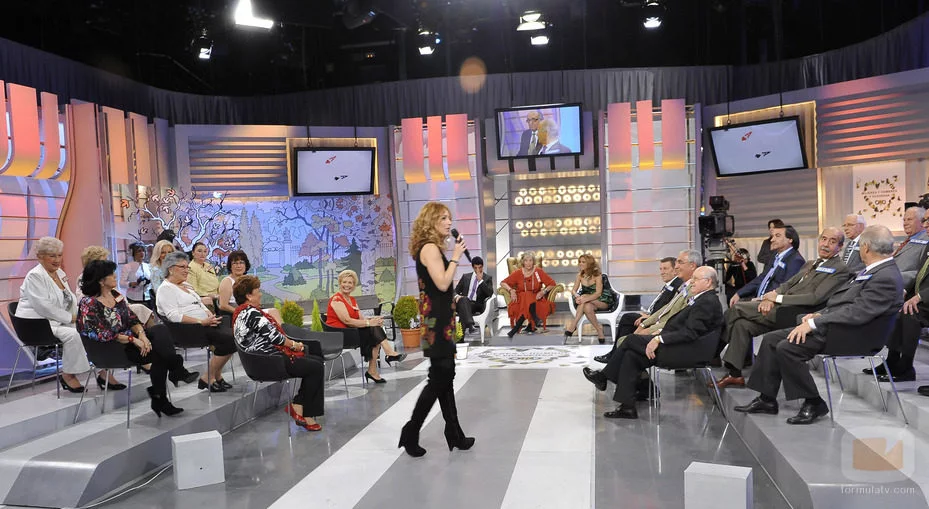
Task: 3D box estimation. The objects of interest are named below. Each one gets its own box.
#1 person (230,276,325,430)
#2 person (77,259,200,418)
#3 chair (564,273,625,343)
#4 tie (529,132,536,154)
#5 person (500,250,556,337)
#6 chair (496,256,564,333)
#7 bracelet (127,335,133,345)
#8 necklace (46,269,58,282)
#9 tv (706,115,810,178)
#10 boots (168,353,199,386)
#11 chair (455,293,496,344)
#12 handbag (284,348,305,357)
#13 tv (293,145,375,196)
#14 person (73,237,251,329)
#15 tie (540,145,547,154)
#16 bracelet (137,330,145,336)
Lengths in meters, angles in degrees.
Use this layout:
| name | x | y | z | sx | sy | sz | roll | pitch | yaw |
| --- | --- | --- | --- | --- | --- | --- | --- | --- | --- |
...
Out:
| name | x | y | z | sx | sy | sz | roll | pitch | yaw |
| --- | --- | --- | --- | --- | --- | --- | --- | --- | --- |
| person | -2.378 | 1.266 | 7.899 | 1.073 | 2.011 | 0.428 | -5 | 5 | -10 |
| person | -4.104 | 1.046 | 7.582 | 1.079 | 1.968 | 0.332 | -3 | 5 | 8 |
| chair | 2.518 | 1.106 | 11.580 | 1.054 | 1.270 | 1.024 | -2 | -13 | 14 |
| tie | 1.517 | -2.353 | 13.315 | 0.090 | 0.364 | 0.272 | 4 | 1 | -21 |
| person | 1.291 | 0.752 | 12.439 | 1.178 | 1.634 | 1.511 | -1 | 3 | 3 |
| chair | 1.292 | 0.766 | 12.341 | 1.123 | 1.538 | 1.442 | -1 | 3 | 2 |
| bracelet | -4.089 | 1.039 | 7.536 | 0.090 | 0.119 | 0.040 | -1 | 0 | -18 |
| necklace | -5.532 | 0.282 | 8.278 | 0.087 | 0.113 | 0.090 | -15 | -25 | -45 |
| tv | 6.025 | -2.189 | 12.671 | 1.741 | 1.042 | 0.465 | -2 | 5 | 31 |
| boots | -3.590 | 1.455 | 7.789 | 0.477 | 0.379 | 0.205 | -28 | -20 | 30 |
| chair | 0.303 | 1.245 | 11.954 | 0.799 | 0.857 | 0.730 | -5 | -8 | 36 |
| handbag | -2.158 | 1.249 | 7.826 | 0.154 | 0.051 | 0.120 | 2 | 1 | 36 |
| tv | -2.867 | -1.812 | 13.557 | 1.800 | 1.063 | 0.185 | -5 | 5 | -10 |
| person | -4.772 | 0.403 | 9.291 | 2.534 | 1.368 | 1.181 | -3 | -1 | 5 |
| tie | 1.725 | -2.223 | 13.294 | 0.050 | 0.179 | 0.129 | 30 | 8 | 14 |
| bracelet | -3.976 | 0.969 | 7.579 | 0.075 | 0.029 | 0.074 | 1 | 2 | 13 |
